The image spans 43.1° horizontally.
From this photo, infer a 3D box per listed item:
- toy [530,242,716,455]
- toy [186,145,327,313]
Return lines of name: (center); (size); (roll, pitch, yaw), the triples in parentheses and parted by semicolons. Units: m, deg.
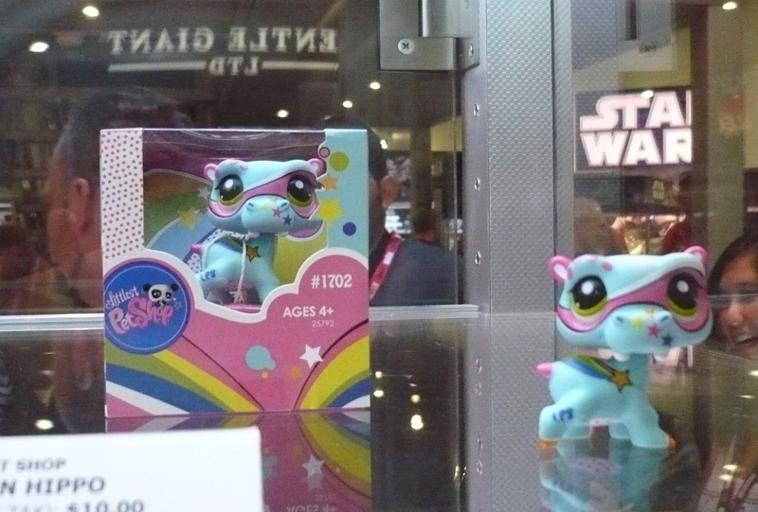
toy: (0.489, 0.202, 2.170); (0.521, 0.586, 0.372); (-1, -16, 9)
toy: (-0.275, -0.050, 2.220); (0.247, 0.363, 0.373); (14, -19, -39)
